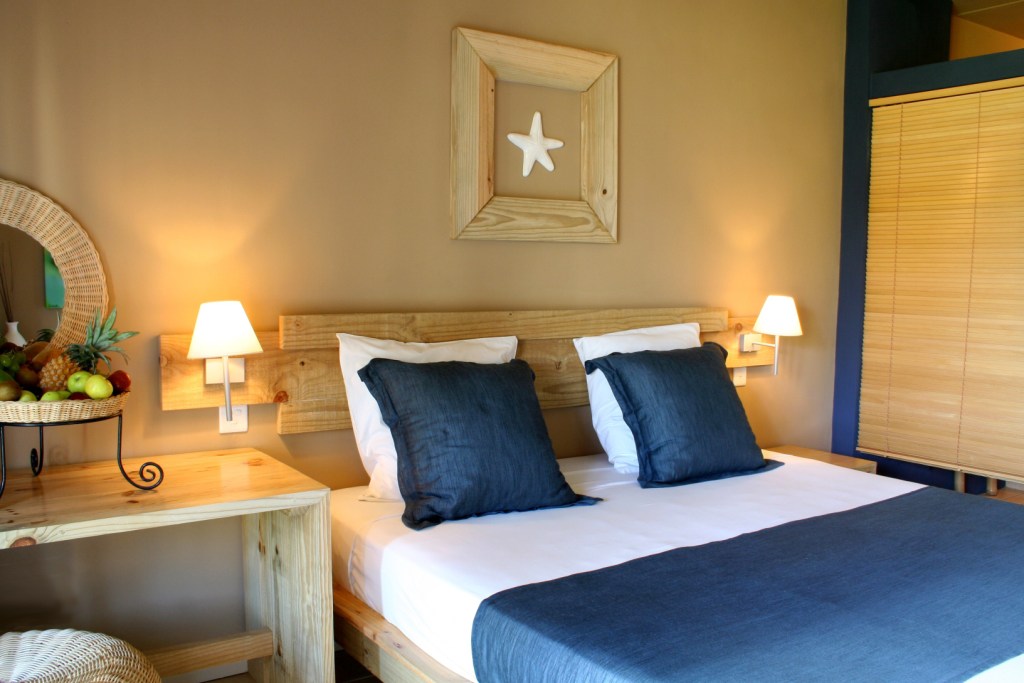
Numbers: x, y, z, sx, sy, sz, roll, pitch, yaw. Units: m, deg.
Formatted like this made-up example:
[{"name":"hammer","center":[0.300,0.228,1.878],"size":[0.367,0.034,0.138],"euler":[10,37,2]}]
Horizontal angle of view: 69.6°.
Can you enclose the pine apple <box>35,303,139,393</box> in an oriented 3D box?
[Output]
[{"name":"pine apple","center":[-1.561,0.037,2.690],"size":[0.306,0.284,0.428],"euler":[-7,13,-26]}]

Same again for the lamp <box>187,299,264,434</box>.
[{"name":"lamp","center":[-1.157,0.114,2.969],"size":[0.258,0.566,0.288],"euler":[-6,13,-21]}]

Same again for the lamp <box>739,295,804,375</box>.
[{"name":"lamp","center":[1.510,-0.036,4.403],"size":[0.382,0.491,0.318],"euler":[-2,4,-29]}]

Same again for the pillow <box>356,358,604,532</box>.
[{"name":"pillow","center":[-0.166,0.393,2.874],"size":[0.777,0.696,0.231],"euler":[-6,-22,-32]}]

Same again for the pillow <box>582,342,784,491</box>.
[{"name":"pillow","center":[0.675,0.269,3.674],"size":[1.103,0.646,0.654],"euler":[-1,5,-29]}]

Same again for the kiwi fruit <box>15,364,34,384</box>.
[{"name":"kiwi fruit","center":[-1.667,0.125,2.516],"size":[0.046,0.047,0.064],"euler":[3,0,42]}]

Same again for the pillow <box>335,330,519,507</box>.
[{"name":"pillow","center":[-0.347,0.264,3.222],"size":[1.122,0.694,0.678],"euler":[-1,4,-31]}]
